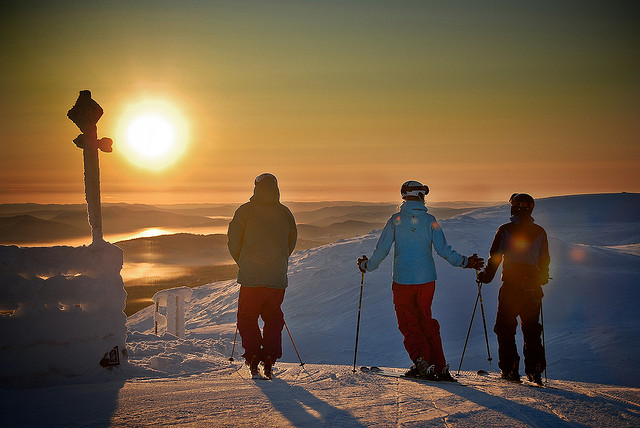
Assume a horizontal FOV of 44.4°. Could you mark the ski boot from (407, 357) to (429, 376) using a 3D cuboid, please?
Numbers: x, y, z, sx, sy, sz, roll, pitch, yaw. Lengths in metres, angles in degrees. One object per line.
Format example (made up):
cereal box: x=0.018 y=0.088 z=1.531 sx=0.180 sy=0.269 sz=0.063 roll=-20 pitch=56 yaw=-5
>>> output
ski boot: x=1.877 y=2.905 z=15.090 sx=0.196 sy=0.398 sz=0.448 roll=0 pitch=3 yaw=-38

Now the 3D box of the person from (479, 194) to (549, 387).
person: x=3.918 y=1.437 z=15.460 sx=1.218 sy=3.647 sz=0.763 roll=3 pitch=3 yaw=12

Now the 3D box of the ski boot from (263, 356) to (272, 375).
ski boot: x=-0.976 y=2.843 z=14.834 sx=0.141 sy=0.356 sz=0.091 roll=2 pitch=3 yaw=-9

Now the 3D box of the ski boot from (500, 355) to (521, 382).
ski boot: x=3.799 y=3.011 z=15.512 sx=0.253 sy=0.494 sz=0.402 roll=0 pitch=4 yaw=-35

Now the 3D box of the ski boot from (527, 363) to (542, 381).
ski boot: x=4.209 y=3.056 z=15.298 sx=0.261 sy=0.353 sz=0.261 roll=3 pitch=3 yaw=17

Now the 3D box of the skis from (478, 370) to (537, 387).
skis: x=3.775 y=3.366 z=16.051 sx=0.103 sy=0.229 sz=1.383 roll=-40 pitch=24 yaw=-26
